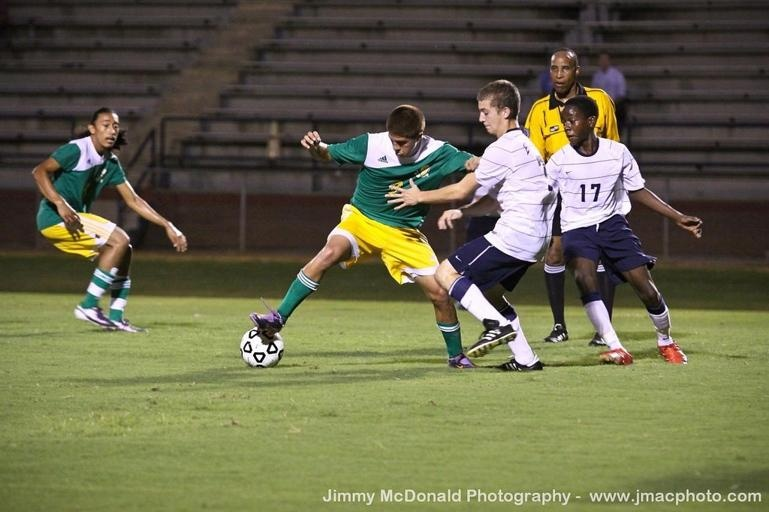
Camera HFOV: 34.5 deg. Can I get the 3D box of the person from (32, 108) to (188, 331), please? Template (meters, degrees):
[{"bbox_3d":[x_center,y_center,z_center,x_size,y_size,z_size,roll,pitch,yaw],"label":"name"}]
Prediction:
[{"bbox_3d":[-3.790,-0.446,16.202,1.464,2.902,1.039,-7,13,-15],"label":"person"}]

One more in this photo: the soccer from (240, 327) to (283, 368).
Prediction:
[{"bbox_3d":[-1.419,1.073,14.676,0.511,0.498,0.462,5,3,-1],"label":"soccer"}]

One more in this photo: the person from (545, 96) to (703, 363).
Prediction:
[{"bbox_3d":[2.686,-0.310,14.703,1.469,3.142,0.846,-2,13,6],"label":"person"}]

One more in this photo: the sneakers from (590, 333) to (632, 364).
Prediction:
[{"bbox_3d":[2.686,1.148,14.824,0.213,0.227,0.566,-1,5,-35],"label":"sneakers"}]

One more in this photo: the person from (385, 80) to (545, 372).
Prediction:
[{"bbox_3d":[1.228,-0.327,14.304,1.559,3.295,1.046,-6,13,-11],"label":"person"}]
